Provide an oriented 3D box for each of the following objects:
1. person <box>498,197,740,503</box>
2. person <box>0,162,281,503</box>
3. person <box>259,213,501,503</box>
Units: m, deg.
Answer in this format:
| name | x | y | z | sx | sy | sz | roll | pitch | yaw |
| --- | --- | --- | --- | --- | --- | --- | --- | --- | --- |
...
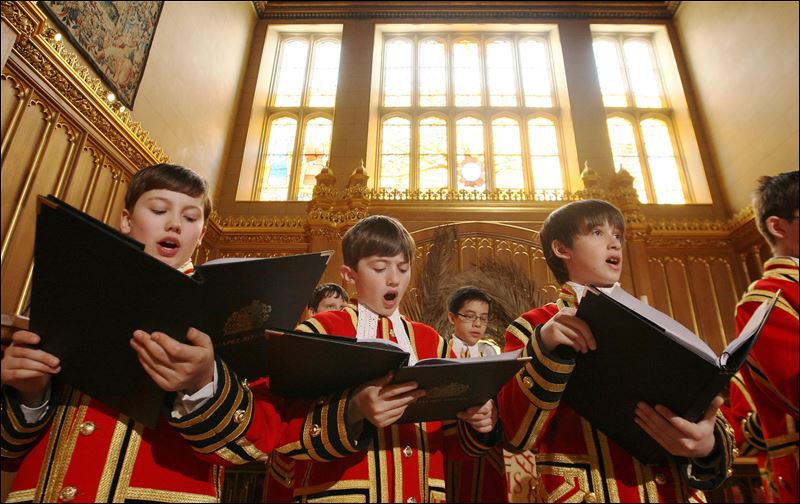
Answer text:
| name | x | y | z | sx | sy | sz | roll | pitch | yaw |
| --- | --- | --- | --- | --- | --- | --- | --- | --- | --- |
| person | 1.036 | 0.436 | 2.521 | 1.024 | 1.559 | 0.565 | 3 | -18 | -5 |
| person | -1.162 | 0.299 | 2.363 | 1.214 | 1.667 | 0.595 | 5 | -18 | -13 |
| person | -0.154 | 0.517 | 2.643 | 0.868 | 1.448 | 1.049 | 16 | -22 | -38 |
